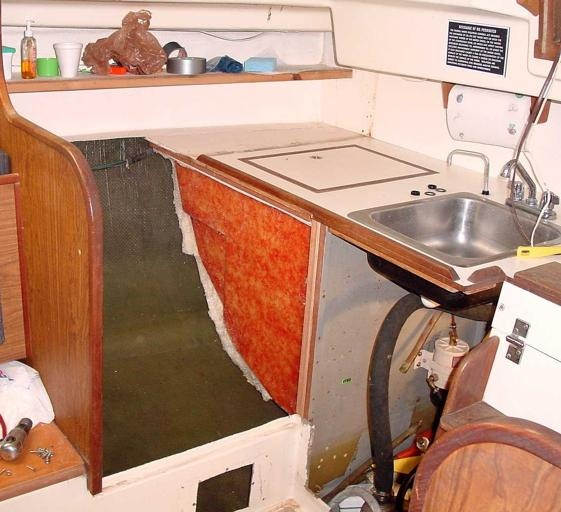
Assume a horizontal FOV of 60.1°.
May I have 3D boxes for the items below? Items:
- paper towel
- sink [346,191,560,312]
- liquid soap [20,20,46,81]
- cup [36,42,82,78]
[{"bbox_3d":[0.714,-0.490,1.687,0.068,0.211,0.297,-14,22,-32],"label":"paper towel"},{"bbox_3d":[0.604,0.025,1.555,0.417,0.159,0.457,-13,28,-23],"label":"sink"},{"bbox_3d":[-0.942,-0.762,1.799,0.065,0.196,0.113,-10,21,-23],"label":"liquid soap"},{"bbox_3d":[-0.811,-0.745,1.847,0.193,0.128,0.123,3,19,5],"label":"cup"}]
